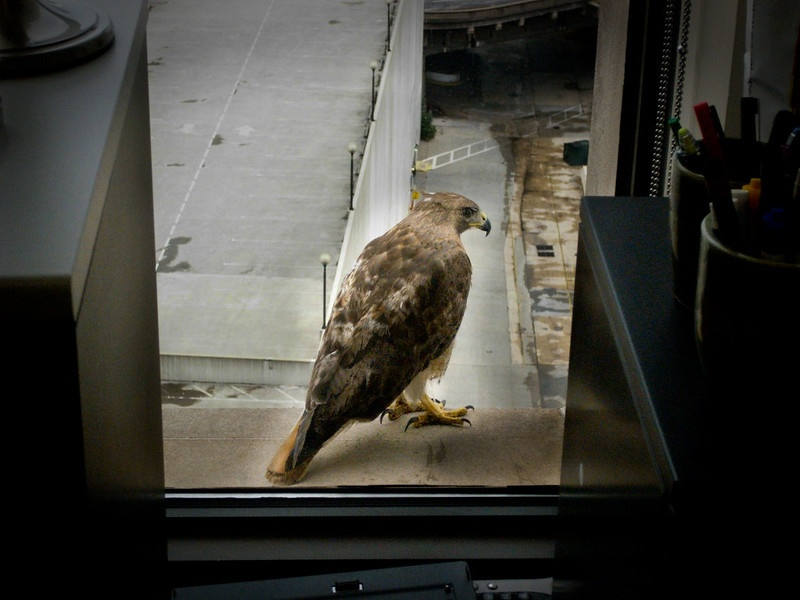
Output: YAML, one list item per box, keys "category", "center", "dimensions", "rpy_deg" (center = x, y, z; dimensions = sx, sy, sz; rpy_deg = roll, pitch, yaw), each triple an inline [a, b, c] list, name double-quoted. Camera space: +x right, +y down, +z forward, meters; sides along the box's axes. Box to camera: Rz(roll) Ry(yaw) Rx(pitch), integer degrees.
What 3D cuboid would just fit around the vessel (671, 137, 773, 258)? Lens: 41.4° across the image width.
- category: "vessel"
  center: [0.320, -0.109, 1.107]
  dimensions: [0.093, 0.122, 0.127]
  rpy_deg: [-5, 35, 17]
